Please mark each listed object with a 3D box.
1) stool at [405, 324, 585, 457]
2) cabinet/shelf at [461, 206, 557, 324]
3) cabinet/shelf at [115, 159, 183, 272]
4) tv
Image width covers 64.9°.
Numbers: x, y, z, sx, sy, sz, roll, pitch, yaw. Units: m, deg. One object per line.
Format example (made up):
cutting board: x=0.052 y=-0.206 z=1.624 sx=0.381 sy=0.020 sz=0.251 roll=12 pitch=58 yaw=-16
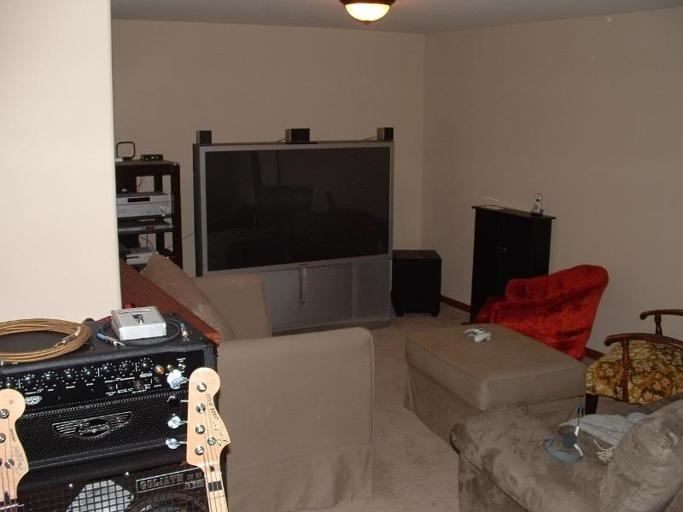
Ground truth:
stool: x=0.931 y=0.808 z=3.594 sx=1.169 sy=0.604 sz=1.153 roll=6 pitch=13 yaw=-3
cabinet/shelf: x=1.477 y=0.062 z=4.640 sx=0.382 sy=1.322 sz=1.052 roll=-1 pitch=7 yaw=-17
cabinet/shelf: x=-1.746 y=-0.224 z=4.807 sx=0.666 sy=1.080 sz=0.675 roll=-6 pitch=-6 yaw=-7
tv: x=-0.394 y=-0.463 z=4.982 sx=1.860 sy=1.168 sz=0.245 roll=-6 pitch=15 yaw=-22
